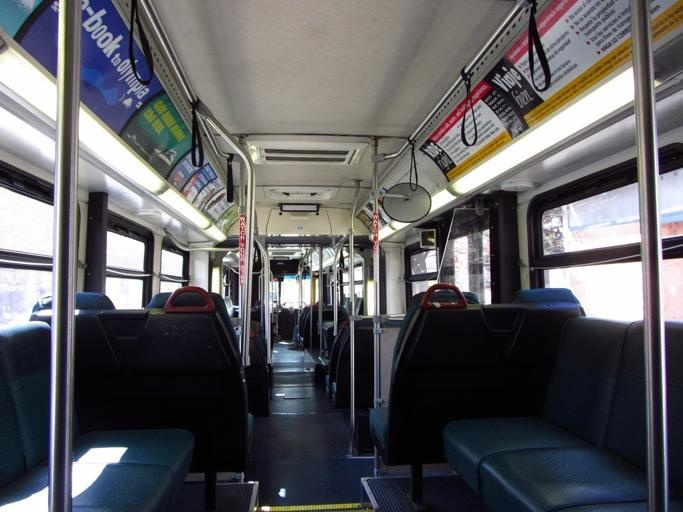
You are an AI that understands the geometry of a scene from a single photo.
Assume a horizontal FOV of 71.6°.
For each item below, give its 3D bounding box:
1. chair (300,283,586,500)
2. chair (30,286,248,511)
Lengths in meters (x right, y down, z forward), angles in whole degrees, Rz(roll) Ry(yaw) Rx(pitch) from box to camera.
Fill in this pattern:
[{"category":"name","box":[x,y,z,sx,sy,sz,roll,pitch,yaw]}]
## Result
[{"category":"chair","box":[0.780,0.869,3.373,0.972,1.258,1.290,3,-12,-9]},{"category":"chair","box":[-1.028,0.777,3.397,1.085,1.618,1.445,0,-5,-8]}]
